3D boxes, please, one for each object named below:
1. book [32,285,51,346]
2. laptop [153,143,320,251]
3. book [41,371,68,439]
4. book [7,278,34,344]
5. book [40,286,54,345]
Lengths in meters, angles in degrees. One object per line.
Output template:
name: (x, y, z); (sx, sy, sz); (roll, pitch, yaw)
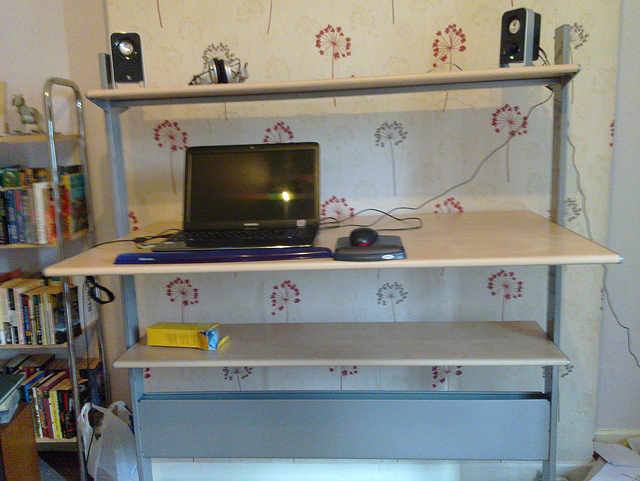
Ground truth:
book: (-1.153, 0.321, 2.462); (0.081, 0.216, 0.190); (-1, -83, -14)
laptop: (-0.242, -0.170, 2.090); (0.539, 0.368, 0.282); (-2, -79, -6)
book: (-1.123, 0.711, 2.514); (0.038, 0.203, 0.203); (-9, -110, -13)
book: (-1.230, 0.306, 2.479); (0.047, 0.110, 0.175); (-1, -76, -4)
book: (-1.127, 0.318, 2.460); (0.035, 0.222, 0.236); (-9, -81, -31)
